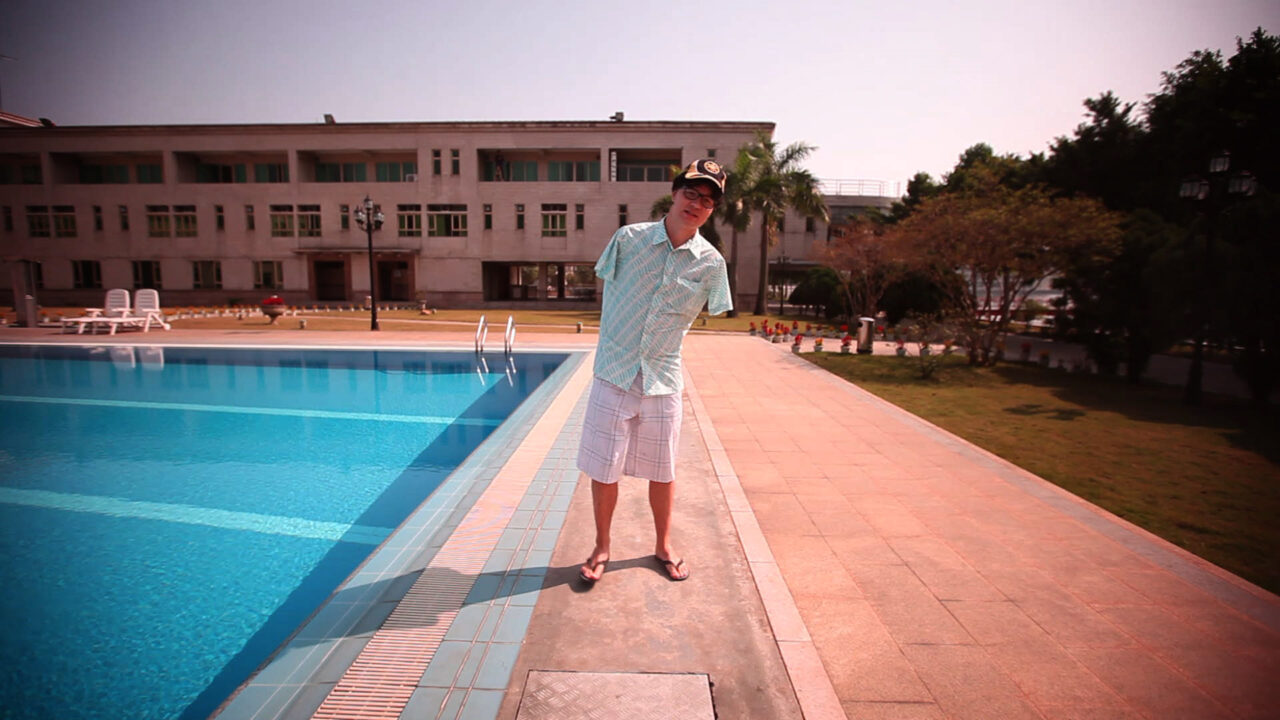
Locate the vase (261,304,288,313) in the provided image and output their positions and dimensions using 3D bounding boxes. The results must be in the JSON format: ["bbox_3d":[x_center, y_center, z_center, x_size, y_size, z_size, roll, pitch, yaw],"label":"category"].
[{"bbox_3d":[-13.404,-1.855,26.844,0.554,0.274,0.526,1,4,-22],"label":"vase"}]

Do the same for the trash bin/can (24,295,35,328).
[{"bbox_3d":[-19.037,-1.560,22.994,0.185,1.011,0.371,-2,5,-27],"label":"trash bin/can"}]

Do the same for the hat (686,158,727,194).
[{"bbox_3d":[0.901,-2.647,10.676,0.608,0.545,0.422,0,4,2],"label":"hat"}]

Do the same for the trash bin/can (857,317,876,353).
[{"bbox_3d":[6.708,-0.719,22.134,0.420,1.041,0.646,1,5,12],"label":"trash bin/can"}]
